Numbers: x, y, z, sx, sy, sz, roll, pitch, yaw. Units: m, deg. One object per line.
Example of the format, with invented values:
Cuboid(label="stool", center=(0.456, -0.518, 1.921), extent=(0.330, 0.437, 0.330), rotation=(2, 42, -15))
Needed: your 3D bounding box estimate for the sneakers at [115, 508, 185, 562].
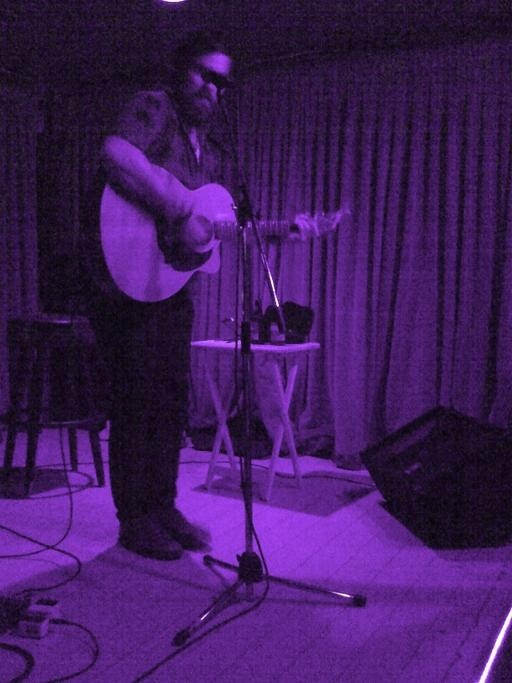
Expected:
Cuboid(label="sneakers", center=(-0.342, 0.593, 2.263), extent=(0.196, 0.122, 0.103), rotation=(9, 3, 31))

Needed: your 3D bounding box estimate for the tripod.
Cuboid(label="tripod", center=(-0.050, 0.005, 2.156), extent=(0.520, 1.422, 0.821), rotation=(-1, 6, -16))

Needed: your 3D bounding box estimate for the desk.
Cuboid(label="desk", center=(-0.028, 0.332, 3.073), extent=(0.362, 0.660, 0.363), rotation=(0, 2, 19))

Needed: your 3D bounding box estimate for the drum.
Cuboid(label="drum", center=(-0.837, 0.172, 3.029), extent=(0.434, 0.878, 0.532), rotation=(1, 5, -8))
